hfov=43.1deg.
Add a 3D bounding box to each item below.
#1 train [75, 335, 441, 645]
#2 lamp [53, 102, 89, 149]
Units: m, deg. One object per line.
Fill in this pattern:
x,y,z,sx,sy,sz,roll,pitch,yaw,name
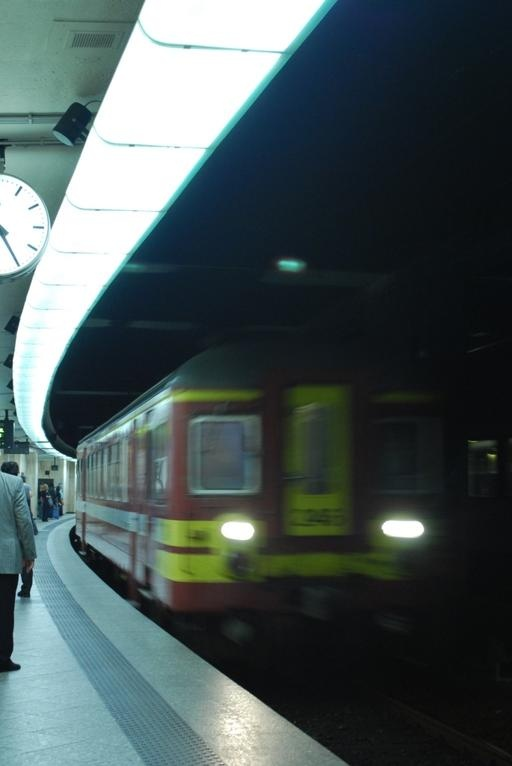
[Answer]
-0.335,1.096,6.809,1.869,2.655,4.047,2,-14,-41,train
-1.571,-2.236,5.588,0.307,0.290,0.223,-5,-10,-11,lamp
